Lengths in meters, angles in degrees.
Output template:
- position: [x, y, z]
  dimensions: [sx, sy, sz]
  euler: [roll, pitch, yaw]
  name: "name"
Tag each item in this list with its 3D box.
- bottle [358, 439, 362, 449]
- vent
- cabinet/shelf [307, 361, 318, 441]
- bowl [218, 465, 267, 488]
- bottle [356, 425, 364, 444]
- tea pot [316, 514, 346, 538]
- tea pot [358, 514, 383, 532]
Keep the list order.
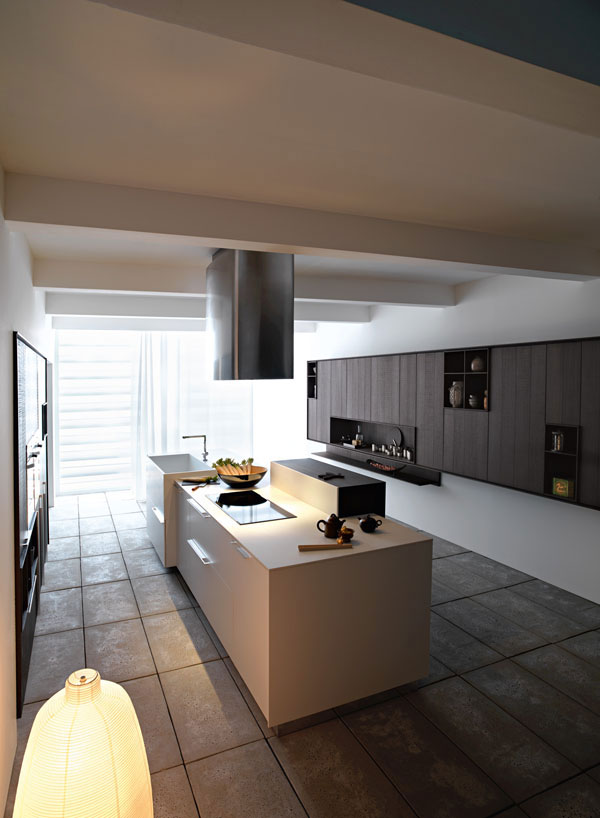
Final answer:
- position: [0.821, 0.481, 7.368]
  dimensions: [0.050, 0.112, 0.056]
  euler: [-1, 1, 3]
  name: "bottle"
- position: [-0.377, -0.697, 3.906]
  dimensions: [0.648, 0.947, 0.466]
  euler: [0, 3, 1]
  name: "vent"
- position: [0.175, -0.136, 8.323]
  dimensions: [0.115, 1.206, 0.473]
  euler: [0, 3, -2]
  name: "cabinet/shelf"
- position: [-0.486, 0.570, 4.427]
  dimensions: [0.368, 0.183, 0.251]
  euler: [-1, 4, -12]
  name: "bowl"
- position: [0.839, 0.361, 7.474]
  dimensions: [0.099, 0.265, 0.290]
  euler: [0, 3, 7]
  name: "bottle"
- position: [0.175, 0.678, 3.123]
  dimensions: [0.156, 0.161, 0.101]
  euler: [-1, 6, -15]
  name: "tea pot"
- position: [0.432, 0.687, 3.246]
  dimensions: [0.112, 0.090, 0.083]
  euler: [-3, 4, -26]
  name: "tea pot"
